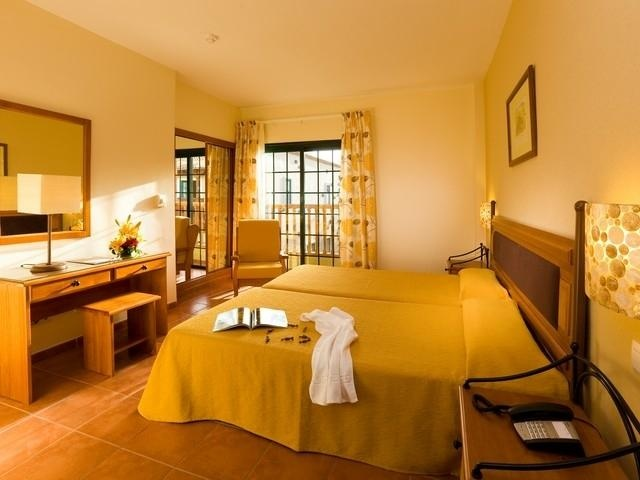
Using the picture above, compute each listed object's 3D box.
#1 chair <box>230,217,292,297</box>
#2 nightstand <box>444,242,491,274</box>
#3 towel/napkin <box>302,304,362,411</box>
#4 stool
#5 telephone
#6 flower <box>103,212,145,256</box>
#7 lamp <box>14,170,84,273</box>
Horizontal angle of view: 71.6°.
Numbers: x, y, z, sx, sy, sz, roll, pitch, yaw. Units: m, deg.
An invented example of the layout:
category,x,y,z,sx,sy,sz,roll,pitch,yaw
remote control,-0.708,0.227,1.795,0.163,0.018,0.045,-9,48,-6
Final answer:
category,x,y,z,sx,sy,sz,roll,pitch,yaw
chair,-0.791,0.260,5.864,0.706,1.071,0.754,0,1,-1
nightstand,1.778,0.250,5.427,0.425,0.580,0.400,1,6,11
towel/napkin,0.062,0.738,3.024,0.381,0.066,0.947,0,27,-2
stool,-1.812,0.814,4.027,0.368,0.576,0.600,5,8,20
telephone,1.162,0.932,2.241,0.298,0.116,0.358,-7,3,4
flower,-1.843,-0.079,4.360,0.282,0.280,0.449,11,23,15
lamp,-2.281,-0.152,3.693,0.423,0.788,0.390,2,5,33
